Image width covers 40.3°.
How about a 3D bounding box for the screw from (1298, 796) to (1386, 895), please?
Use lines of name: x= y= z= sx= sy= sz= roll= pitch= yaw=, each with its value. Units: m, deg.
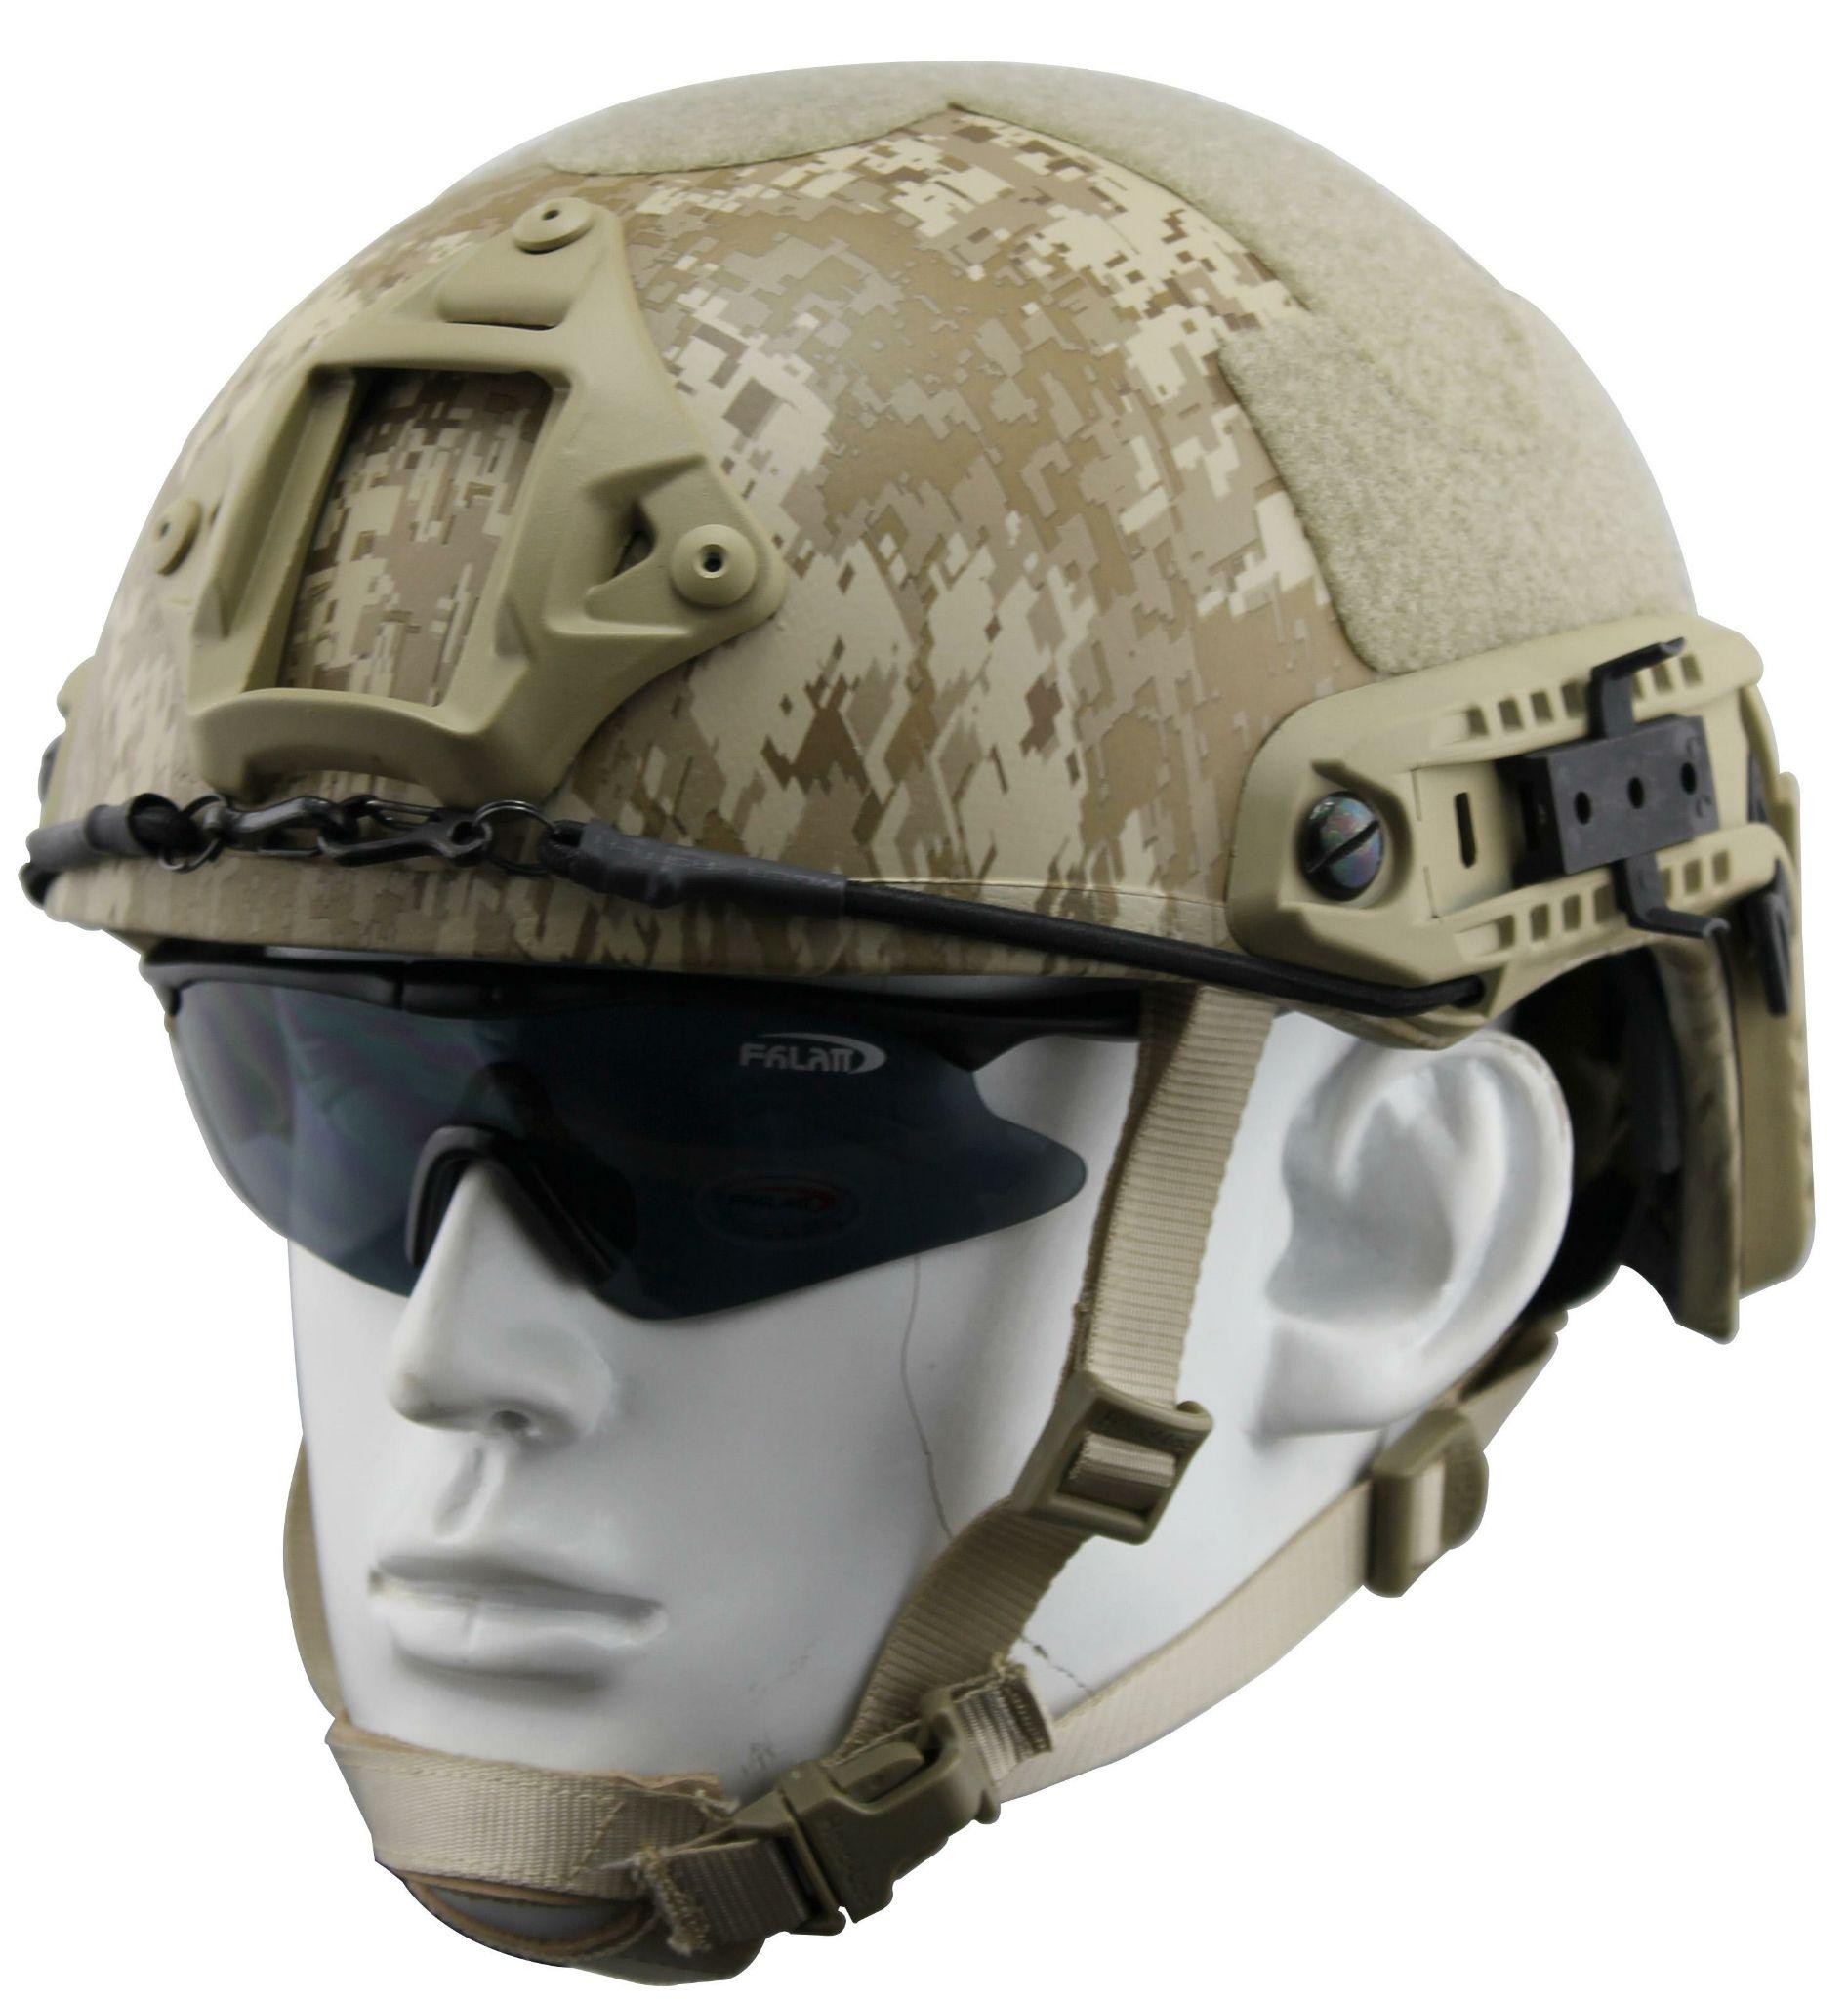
screw: x=0.341 y=-0.124 z=2.039 sx=0.041 sy=0.083 sz=0.079 roll=-17 pitch=-25 yaw=40
